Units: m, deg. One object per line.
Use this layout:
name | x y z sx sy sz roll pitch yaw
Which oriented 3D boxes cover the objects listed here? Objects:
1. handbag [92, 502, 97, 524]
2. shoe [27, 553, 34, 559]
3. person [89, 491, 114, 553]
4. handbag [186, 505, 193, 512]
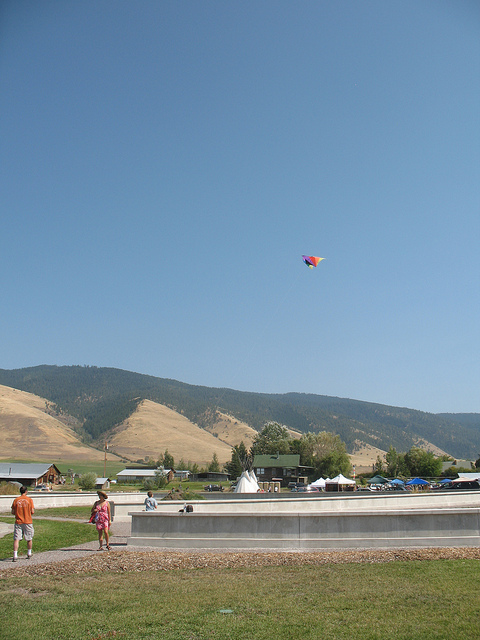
handbag | -3.900 5.182 22.524 0.087 0.574 0.371 5 -1 -9
shoe | -5.212 5.835 20.836 0.104 0.072 0.128 0 -27 -32
person | -3.730 5.469 22.902 0.610 1.693 1.947 5 -1 -7
handbag | -1.566 5.775 25.783 0.205 0.267 0.171 0 -3 4
